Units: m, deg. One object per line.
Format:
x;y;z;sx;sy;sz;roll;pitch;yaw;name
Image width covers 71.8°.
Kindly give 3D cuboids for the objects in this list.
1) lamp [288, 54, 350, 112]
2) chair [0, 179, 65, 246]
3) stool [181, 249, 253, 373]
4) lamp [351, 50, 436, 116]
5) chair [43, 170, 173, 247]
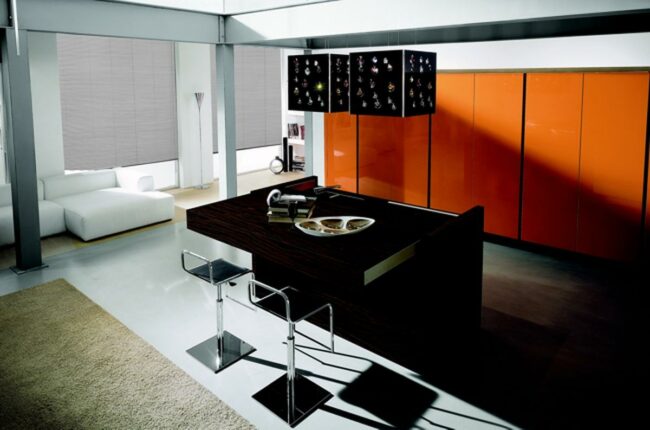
-0.076;-1.349;4.591;0.620;0.549;0.349;-1;20;1;lamp
-4.901;-0.019;7.302;0.723;0.833;0.940;15;25;37;chair
-1.135;0.934;4.846;0.625;0.969;0.625;7;15;30;stool
0.593;-1.275;4.387;0.839;0.580;0.806;-16;21;-39;lamp
-3.882;-0.225;7.785;1.426;0.773;1.519;13;20;38;chair
